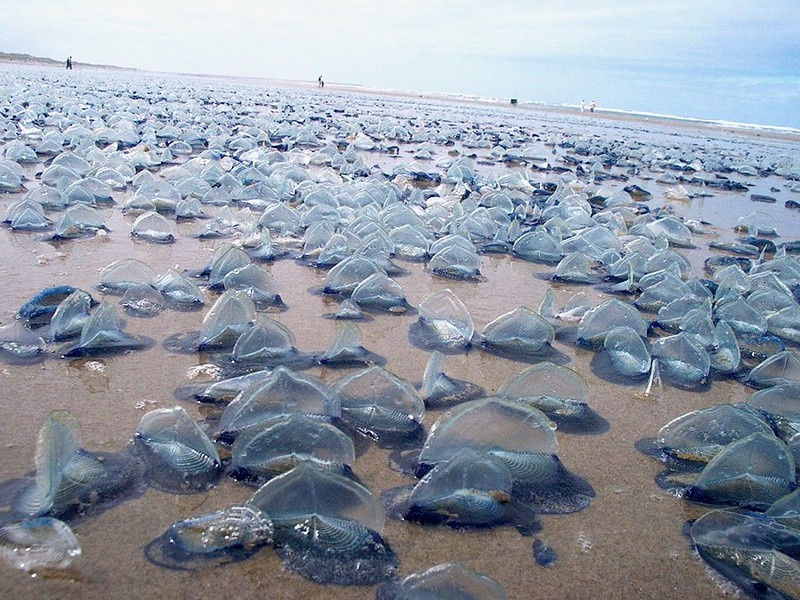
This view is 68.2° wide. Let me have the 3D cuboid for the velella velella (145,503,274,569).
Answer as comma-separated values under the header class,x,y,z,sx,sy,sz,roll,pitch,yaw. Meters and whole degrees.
class,x,y,z,sx,sy,sz,roll,pitch,yaw
velella velella,-0.566,0.695,1.747,0.305,0.034,0.162,-9,40,-14
